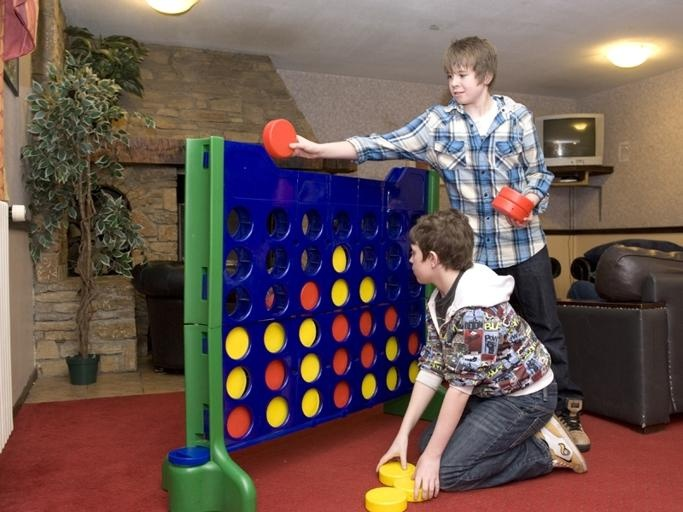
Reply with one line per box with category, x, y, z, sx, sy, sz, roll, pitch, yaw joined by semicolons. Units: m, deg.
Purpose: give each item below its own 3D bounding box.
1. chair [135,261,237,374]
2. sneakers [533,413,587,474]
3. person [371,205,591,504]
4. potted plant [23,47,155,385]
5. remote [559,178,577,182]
chair;-1.287;0.418;4.411;0.533;0.721;0.689;2;3;11
sneakers;0.915;0.803;2.436;0.109;0.244;0.082;-29;-12;-44
person;0.713;0.477;2.890;1.101;1.439;0.713;1;-2;-2
potted plant;-1.863;-0.340;4.328;0.788;2.350;1.136;-2;7;-18
remote;2.822;-0.941;7.230;0.114;0.028;0.108;0;-2;-12
